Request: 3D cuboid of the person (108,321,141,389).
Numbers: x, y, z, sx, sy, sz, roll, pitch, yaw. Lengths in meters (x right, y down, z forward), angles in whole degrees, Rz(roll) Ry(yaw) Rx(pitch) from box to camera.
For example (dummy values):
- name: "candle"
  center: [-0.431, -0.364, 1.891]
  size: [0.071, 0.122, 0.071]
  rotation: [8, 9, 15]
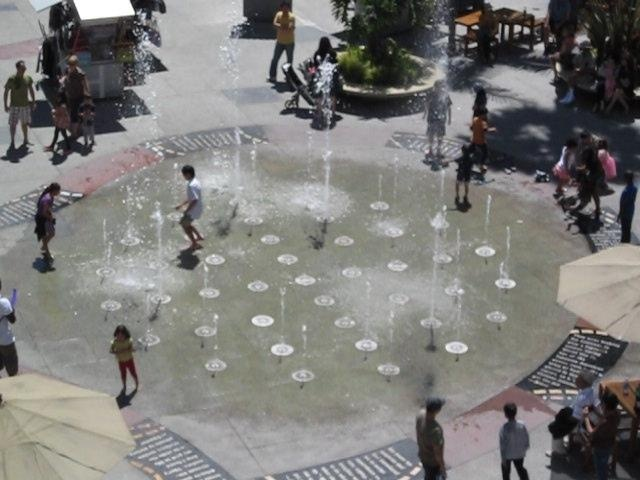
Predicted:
- name: "person"
  center: [-3.110, 1.848, 13.231]
  size: [0.322, 1.226, 0.315]
  rotation: [-7, 31, -13]

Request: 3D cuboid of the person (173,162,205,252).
- name: "person"
  center: [-2.681, -0.599, 16.954]
  size: [0.624, 1.835, 0.716]
  rotation: [9, 42, 1]

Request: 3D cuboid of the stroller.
- name: "stroller"
  center: [-0.312, -3.974, 22.049]
  size: [1.049, 1.258, 1.937]
  rotation: [-7, 50, -5]

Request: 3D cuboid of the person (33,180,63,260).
- name: "person"
  center: [-5.308, -0.318, 16.244]
  size: [0.502, 1.492, 0.603]
  rotation: [-8, 49, -24]

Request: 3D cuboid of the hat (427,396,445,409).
- name: "hat"
  center: [1.523, 2.181, 11.156]
  size: [0.224, 0.349, 0.183]
  rotation: [-1, 76, 1]
